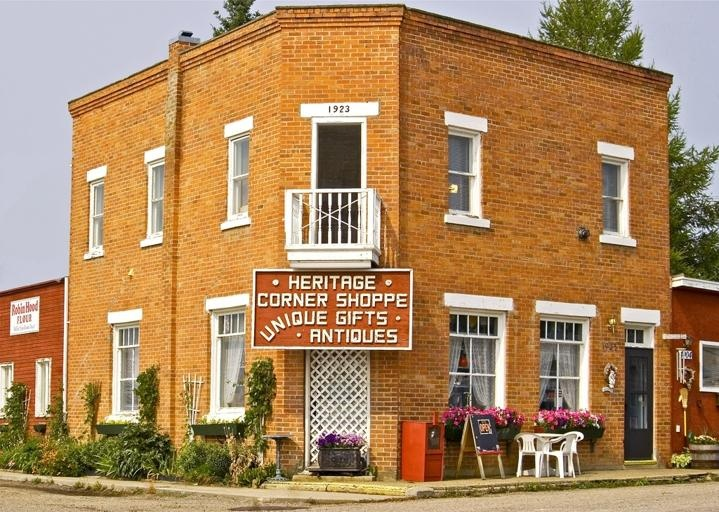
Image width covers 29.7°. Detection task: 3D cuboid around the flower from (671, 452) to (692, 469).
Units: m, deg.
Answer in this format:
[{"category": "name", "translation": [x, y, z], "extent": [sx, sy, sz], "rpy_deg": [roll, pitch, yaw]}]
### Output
[{"category": "flower", "translation": [8.497, 5.417, 35.848], "extent": [0.391, 0.271, 0.382], "rpy_deg": [7, -8, -42]}]

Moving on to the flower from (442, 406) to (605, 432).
[{"category": "flower", "translation": [4.553, 4.099, 34.533], "extent": [3.492, 0.733, 0.455], "rpy_deg": [2, -5, -19]}]

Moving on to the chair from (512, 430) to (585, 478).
[{"category": "chair", "translation": [4.640, 4.856, 33.573], "extent": [1.297, 0.828, 1.334], "rpy_deg": [-2, -6, 29]}]

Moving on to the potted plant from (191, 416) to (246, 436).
[{"category": "potted plant", "translation": [-3.551, 4.289, 33.853], "extent": [1.666, 0.540, 0.420], "rpy_deg": [-16, -22, 41]}]
